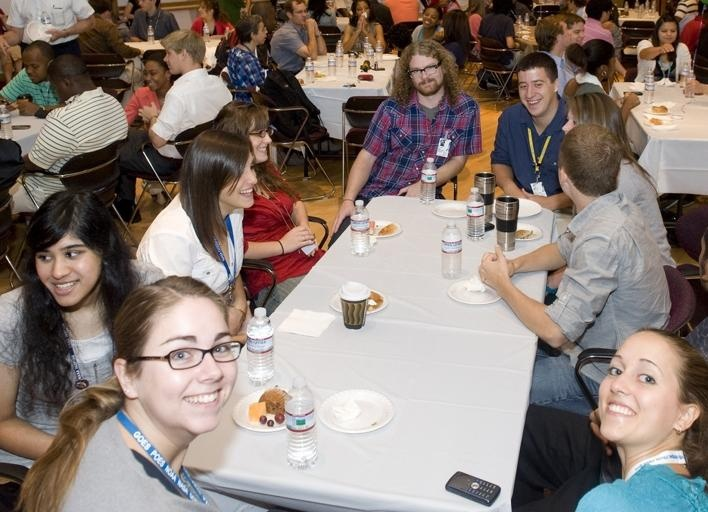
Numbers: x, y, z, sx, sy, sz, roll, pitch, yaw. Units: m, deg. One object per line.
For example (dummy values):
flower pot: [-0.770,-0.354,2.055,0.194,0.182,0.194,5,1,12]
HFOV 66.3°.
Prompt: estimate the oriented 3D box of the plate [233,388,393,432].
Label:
plate: [-0.100,0.522,1.811,0.323,0.028,0.212,1,22,5]

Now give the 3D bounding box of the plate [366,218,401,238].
plate: [0.169,-0.159,3.159,0.120,0.026,0.122,-16,37,-31]

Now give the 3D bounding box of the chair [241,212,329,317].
chair: [-0.397,0.054,3.016,0.310,0.519,0.322,14,43,34]

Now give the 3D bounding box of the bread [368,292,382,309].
bread: [0.102,0.196,2.430,0.045,0.019,0.062,7,31,4]

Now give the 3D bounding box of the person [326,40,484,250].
person: [0.440,-0.765,4.130,1.078,1.587,0.919,-6,34,-10]

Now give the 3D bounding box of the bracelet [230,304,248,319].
bracelet: [-0.597,0.289,2.880,0.069,0.070,0.054,18,35,13]

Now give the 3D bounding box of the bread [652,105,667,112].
bread: [2.701,-1.301,4.816,0.096,0.042,0.098,6,9,35]

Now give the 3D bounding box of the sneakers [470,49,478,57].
sneakers: [2.156,-3.642,9.694,0.150,0.122,0.138,1,44,15]

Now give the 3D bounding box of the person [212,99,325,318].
person: [-0.571,-0.287,3.244,0.599,1.117,0.658,-17,11,-18]

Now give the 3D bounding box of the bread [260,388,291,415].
bread: [-0.264,0.484,1.829,0.068,0.032,0.087,13,39,12]

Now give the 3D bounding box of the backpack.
backpack: [-0.664,-1.498,5.637,0.581,0.764,0.258,-35,15,-19]

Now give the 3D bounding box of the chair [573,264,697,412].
chair: [1.024,0.305,2.046,0.335,0.538,0.300,15,46,24]

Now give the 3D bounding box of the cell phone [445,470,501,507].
cell phone: [0.343,0.644,1.533,0.114,0.028,0.069,15,29,31]
